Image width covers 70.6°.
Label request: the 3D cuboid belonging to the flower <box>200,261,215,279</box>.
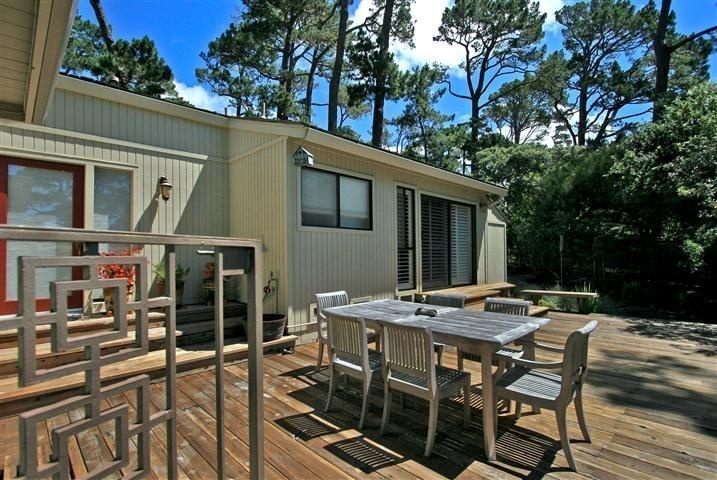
[{"bbox_3d":[-3.074,0.631,10.318,0.363,0.404,0.375,3,-6,-16],"label":"flower"}]

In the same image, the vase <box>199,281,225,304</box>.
[{"bbox_3d":[-3.143,1.088,10.576,0.156,0.411,0.581,-2,0,-38],"label":"vase"}]

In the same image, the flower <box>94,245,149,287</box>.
[{"bbox_3d":[-4.433,0.528,9.415,0.312,1.201,1.253,1,1,-42],"label":"flower"}]

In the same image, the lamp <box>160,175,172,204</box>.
[{"bbox_3d":[-3.959,-1.041,10.437,0.231,0.458,0.262,-1,0,-22],"label":"lamp"}]
